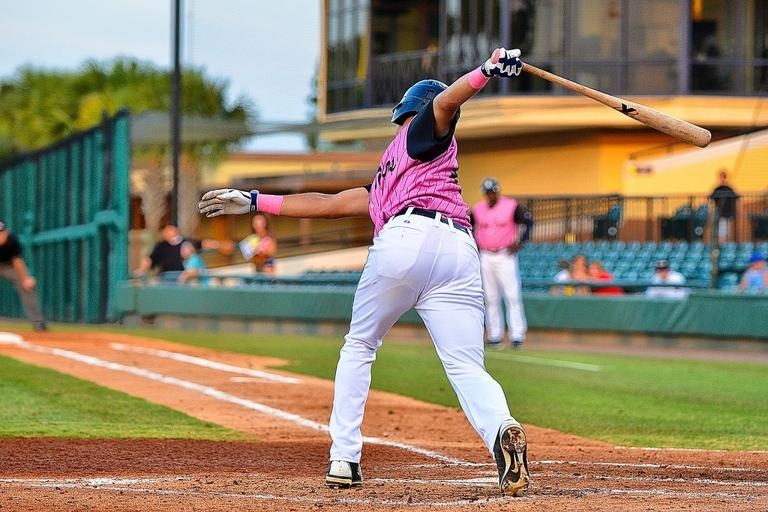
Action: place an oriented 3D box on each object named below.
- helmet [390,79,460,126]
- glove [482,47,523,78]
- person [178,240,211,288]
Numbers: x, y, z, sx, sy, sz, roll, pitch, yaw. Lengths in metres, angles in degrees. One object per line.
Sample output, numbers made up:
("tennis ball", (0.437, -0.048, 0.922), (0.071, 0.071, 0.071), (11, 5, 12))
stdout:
("helmet", (0.415, -1.441, 11.931), (0.647, 0.354, 0.396), (3, 8, 26))
("glove", (0.999, -1.652, 11.527), (0.266, 0.237, 0.489), (3, 8, 20))
("person", (-2.735, 0.099, 19.415), (0.480, 0.520, 1.644), (8, 4, -16))
